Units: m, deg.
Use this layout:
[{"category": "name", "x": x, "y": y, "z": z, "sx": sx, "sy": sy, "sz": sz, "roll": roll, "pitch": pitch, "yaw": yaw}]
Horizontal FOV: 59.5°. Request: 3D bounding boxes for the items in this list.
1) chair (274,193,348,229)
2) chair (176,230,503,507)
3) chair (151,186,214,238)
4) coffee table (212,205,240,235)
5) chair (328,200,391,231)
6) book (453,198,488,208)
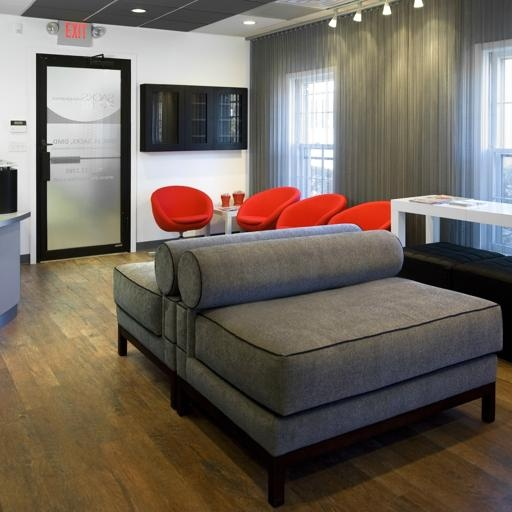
[{"category": "chair", "x": 0.669, "y": -0.526, "z": 5.279, "sx": 0.585, "sy": 0.726, "sz": 0.599, "roll": 10, "pitch": 9, "yaw": 43}, {"category": "chair", "x": 0.363, "y": 0.355, "z": 2.105, "sx": 1.290, "sy": 0.851, "sz": 0.883, "roll": -4, "pitch": 7, "yaw": -30}, {"category": "chair", "x": -1.001, "y": -0.659, "z": 6.093, "sx": 0.739, "sy": 0.873, "sz": 0.722, "roll": -10, "pitch": 19, "yaw": -28}, {"category": "coffee table", "x": -0.433, "y": -0.553, "z": 6.486, "sx": 0.381, "sy": 0.396, "sz": 0.385, "roll": -5, "pitch": 10, "yaw": -29}, {"category": "chair", "x": 1.109, "y": -0.421, "z": 4.711, "sx": 0.430, "sy": 0.503, "sz": 0.390, "roll": -5, "pitch": 10, "yaw": -42}, {"category": "book", "x": 1.835, "y": -0.462, "z": 3.849, "sx": 0.282, "sy": 0.066, "sz": 0.502, "roll": 3, "pitch": 7, "yaw": 28}]
